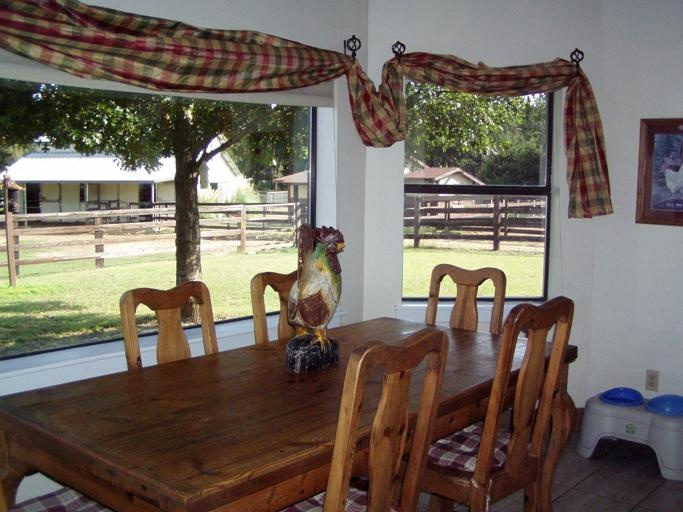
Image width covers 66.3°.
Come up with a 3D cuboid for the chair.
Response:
[{"bbox_3d":[-0.005,0.526,2.125,0.824,0.573,1.188,3,7,40],"label":"chair"}]
